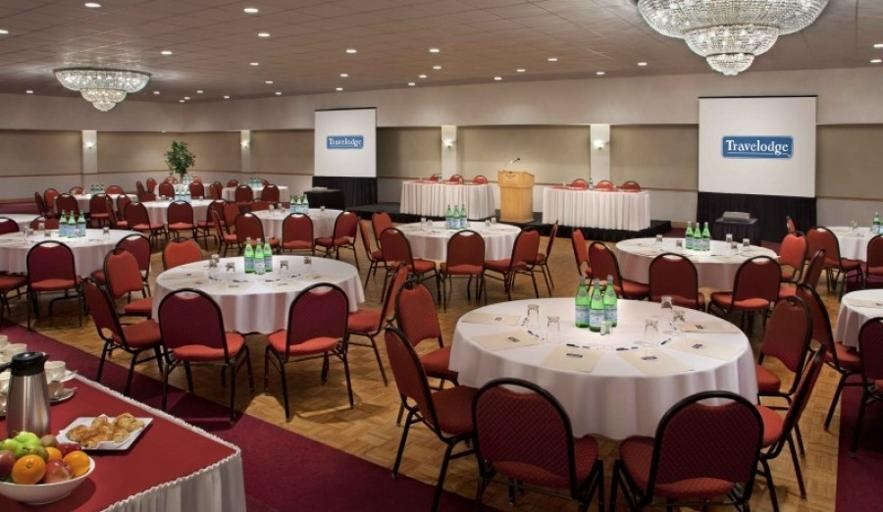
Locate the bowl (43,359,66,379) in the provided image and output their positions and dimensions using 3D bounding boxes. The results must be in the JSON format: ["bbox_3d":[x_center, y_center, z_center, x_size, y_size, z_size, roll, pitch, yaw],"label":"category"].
[{"bbox_3d":[-2.783,0.807,4.141,0.154,0.119,0.158,0,-4,0],"label":"bowl"}]

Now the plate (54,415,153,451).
[{"bbox_3d":[-2.227,1.140,3.766,0.560,0.174,0.315,-2,8,2],"label":"plate"}]

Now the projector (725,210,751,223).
[{"bbox_3d":[6.571,-0.855,12.775,0.525,0.166,0.378,3,7,37],"label":"projector"}]

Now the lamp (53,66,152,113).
[{"bbox_3d":[-8.025,-4.055,13.662,1.396,0.624,1.410,4,6,44],"label":"lamp"}]

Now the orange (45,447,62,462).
[{"bbox_3d":[-2.304,1.174,3.410,0.082,0.076,0.079,-6,-18,-17],"label":"orange"}]

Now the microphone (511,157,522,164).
[{"bbox_3d":[2.295,-2.887,17.497,0.215,0.075,0.135,-2,1,20],"label":"microphone"}]
